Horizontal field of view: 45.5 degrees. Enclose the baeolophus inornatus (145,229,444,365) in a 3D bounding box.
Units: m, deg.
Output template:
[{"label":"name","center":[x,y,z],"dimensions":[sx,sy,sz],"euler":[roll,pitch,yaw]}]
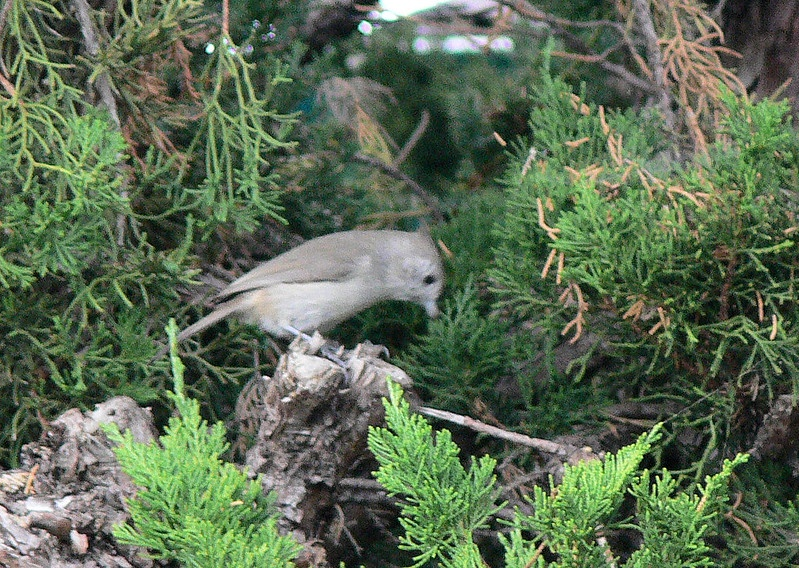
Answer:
[{"label":"baeolophus inornatus","center":[-0.364,0.038,3.363],"dimensions":[1.010,0.308,0.504],"euler":[4,82,9]}]
